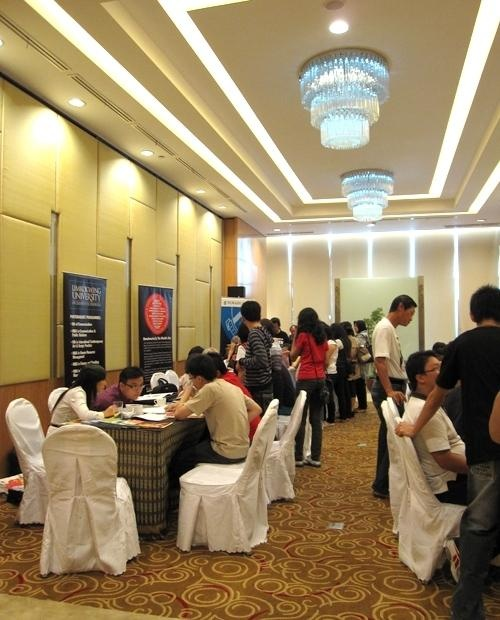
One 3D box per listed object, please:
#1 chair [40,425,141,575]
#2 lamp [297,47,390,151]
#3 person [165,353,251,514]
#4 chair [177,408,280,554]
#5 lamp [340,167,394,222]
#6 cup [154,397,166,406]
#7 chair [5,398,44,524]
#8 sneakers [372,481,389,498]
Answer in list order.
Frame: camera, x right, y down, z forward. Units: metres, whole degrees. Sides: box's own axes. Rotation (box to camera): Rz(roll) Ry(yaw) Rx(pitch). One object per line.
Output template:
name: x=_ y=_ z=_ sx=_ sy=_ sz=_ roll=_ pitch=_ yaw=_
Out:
chair: x=-0.812 y=0.878 z=2.389 sx=0.478 sy=0.752 sz=0.526 roll=4 pitch=6 yaw=19
lamp: x=0.859 y=-1.984 z=4.292 sx=0.755 sy=0.574 sz=0.689 roll=4 pitch=-5 yaw=-32
person: x=-0.254 y=0.801 z=3.036 sx=0.628 sy=1.011 sz=0.431 roll=6 pitch=0 yaw=-8
chair: x=-0.154 y=0.957 z=2.980 sx=0.646 sy=1.012 sz=0.764 roll=0 pitch=-7 yaw=15
lamp: x=1.943 y=-1.838 z=7.631 sx=0.777 sy=0.803 sz=0.796 roll=-3 pitch=5 yaw=-24
cup: x=-0.661 y=0.670 z=3.393 sx=0.075 sy=0.061 sz=0.059 roll=-2 pitch=2 yaw=-16
chair: x=-1.516 y=0.997 z=3.130 sx=0.249 sy=0.755 sz=0.517 roll=3 pitch=-5 yaw=-27
sneakers: x=0.969 y=1.371 z=3.548 sx=0.160 sy=0.121 sz=0.055 roll=-2 pitch=-3 yaw=30
